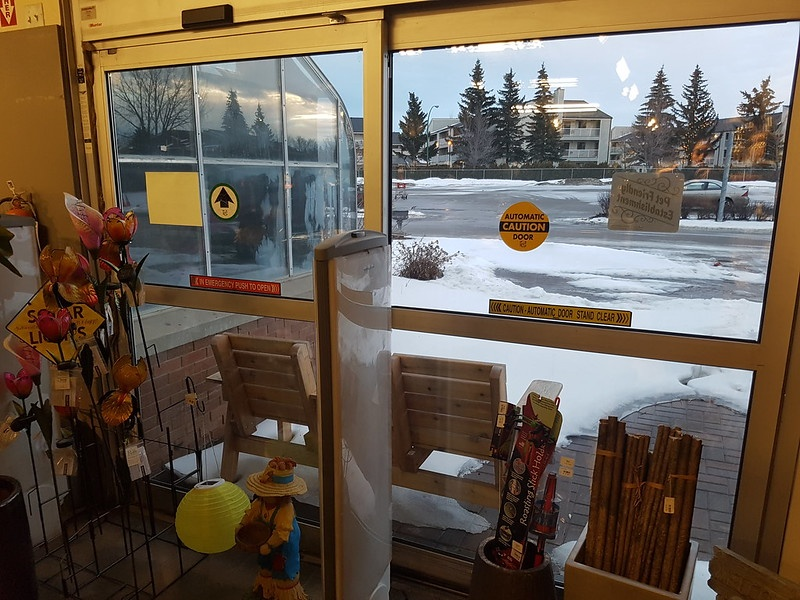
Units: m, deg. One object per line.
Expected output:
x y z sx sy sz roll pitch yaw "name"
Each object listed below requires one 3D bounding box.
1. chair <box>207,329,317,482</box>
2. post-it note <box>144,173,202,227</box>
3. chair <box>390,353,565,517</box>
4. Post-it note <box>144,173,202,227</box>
-0.629 0.482 2.910 0.580 0.785 0.657 3 10 12 "chair"
-1.118 -0.516 2.667 0.243 0.223 0.021 7 18 25 "post-it note"
0.328 0.531 2.618 0.513 0.601 0.772 2 13 16 "chair"
-1.118 -0.516 2.667 0.243 0.223 0.021 7 18 25 "Post-it note"
